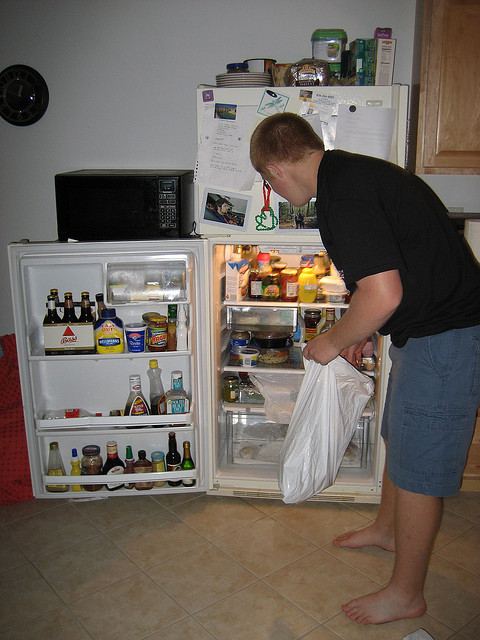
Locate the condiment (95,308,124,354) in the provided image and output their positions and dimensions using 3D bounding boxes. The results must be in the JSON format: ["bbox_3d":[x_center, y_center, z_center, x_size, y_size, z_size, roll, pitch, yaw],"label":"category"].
[{"bbox_3d":[-0.481,0.040,1.976,0.111,0.166,0.082,-6,13,-23],"label":"condiment"}]

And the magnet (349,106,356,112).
[{"bbox_3d":[0.358,-0.673,1.701,0.020,0.018,0.004,3,4,-3],"label":"magnet"}]

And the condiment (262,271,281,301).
[{"bbox_3d":[0.126,-0.135,2.173,0.076,0.110,0.051,1,12,10],"label":"condiment"}]

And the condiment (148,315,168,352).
[{"bbox_3d":[-0.315,0.051,2.015,0.078,0.124,0.095,1,12,7],"label":"condiment"}]

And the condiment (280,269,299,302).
[{"bbox_3d":[0.203,-0.139,2.158,0.077,0.126,0.074,-2,12,-3],"label":"condiment"}]

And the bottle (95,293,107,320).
[{"bbox_3d":[-0.518,-0.051,1.989,0.035,0.097,0.077,-4,12,-15],"label":"bottle"}]

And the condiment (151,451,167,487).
[{"bbox_3d":[-0.320,0.588,2.110,0.053,0.134,0.076,-1,12,2],"label":"condiment"}]

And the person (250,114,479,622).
[{"bbox_3d":[0.300,0.184,1.350,0.494,1.352,0.365,9,16,38],"label":"person"}]

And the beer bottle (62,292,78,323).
[{"bbox_3d":[-0.628,-0.049,1.947,0.053,0.106,0.070,-5,13,-18],"label":"beer bottle"}]

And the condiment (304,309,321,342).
[{"bbox_3d":[0.313,0.028,2.301,0.068,0.152,0.123,1,12,7],"label":"condiment"}]

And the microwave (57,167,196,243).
[{"bbox_3d":[-0.428,-0.393,1.988,0.433,0.215,0.282,1,16,2],"label":"microwave"}]

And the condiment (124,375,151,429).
[{"bbox_3d":[-0.400,0.292,2.057,0.121,0.167,0.099,-8,14,-29],"label":"condiment"}]

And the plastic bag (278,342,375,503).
[{"bbox_3d":[0.280,0.333,1.682,0.351,0.461,0.115,-7,14,-26],"label":"plastic bag"}]

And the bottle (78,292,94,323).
[{"bbox_3d":[-0.571,-0.049,1.957,0.053,0.105,0.075,-3,12,-9],"label":"bottle"}]

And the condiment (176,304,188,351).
[{"bbox_3d":[-0.220,0.026,1.983,0.045,0.179,0.049,-3,12,-7],"label":"condiment"}]

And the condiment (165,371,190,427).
[{"bbox_3d":[-0.252,0.277,2.086,0.094,0.167,0.174,-3,12,-8],"label":"condiment"}]

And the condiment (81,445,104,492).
[{"bbox_3d":[-0.576,0.596,2.131,0.104,0.165,0.098,-6,1,21],"label":"condiment"}]

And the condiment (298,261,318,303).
[{"bbox_3d":[0.275,-0.139,2.162,0.073,0.129,0.065,-12,16,-42],"label":"condiment"}]

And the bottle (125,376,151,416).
[{"bbox_3d":[-0.383,0.296,2.052,0.110,0.161,0.087,-10,15,-36],"label":"bottle"}]

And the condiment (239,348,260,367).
[{"bbox_3d":[0.039,0.158,2.223,0.083,0.066,0.077,-1,12,0],"label":"condiment"}]

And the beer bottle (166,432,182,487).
[{"bbox_3d":[-0.271,0.536,2.151,0.061,0.215,0.166,-3,12,-9],"label":"beer bottle"}]

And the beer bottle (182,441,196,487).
[{"bbox_3d":[-0.208,0.557,2.114,0.052,0.189,0.079,-3,12,-8],"label":"beer bottle"}]

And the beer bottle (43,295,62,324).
[{"bbox_3d":[-0.679,-0.038,1.912,0.063,0.104,0.038,-4,13,-14],"label":"beer bottle"}]

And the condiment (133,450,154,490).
[{"bbox_3d":[-0.389,0.602,2.120,0.095,0.151,0.050,-3,-24,-17],"label":"condiment"}]

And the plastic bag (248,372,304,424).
[{"bbox_3d":[0.158,0.304,2.189,0.253,0.171,0.213,0,-7,5],"label":"plastic bag"}]

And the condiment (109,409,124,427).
[{"bbox_3d":[-0.495,0.375,2.128,0.059,0.042,0.152,-4,12,-13],"label":"condiment"}]

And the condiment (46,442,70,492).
[{"bbox_3d":[-0.736,0.566,2.116,0.086,0.198,0.179,-6,13,-21],"label":"condiment"}]
